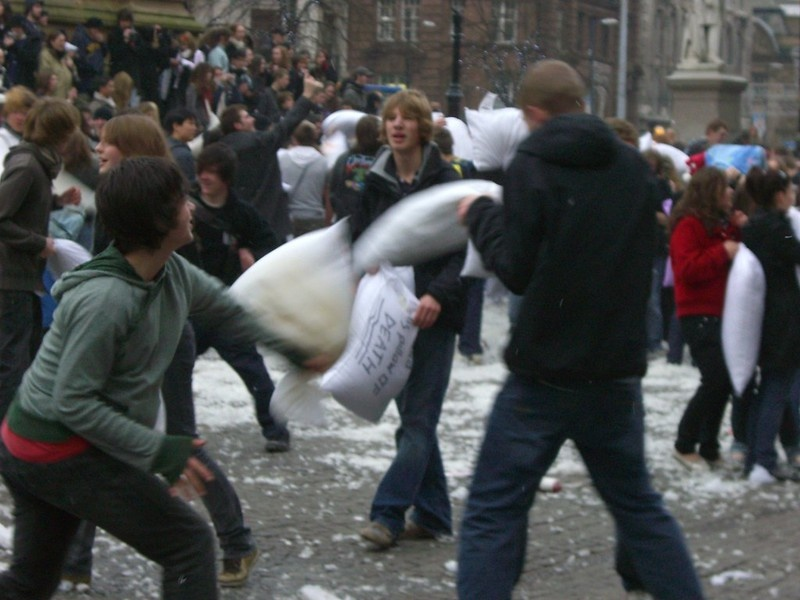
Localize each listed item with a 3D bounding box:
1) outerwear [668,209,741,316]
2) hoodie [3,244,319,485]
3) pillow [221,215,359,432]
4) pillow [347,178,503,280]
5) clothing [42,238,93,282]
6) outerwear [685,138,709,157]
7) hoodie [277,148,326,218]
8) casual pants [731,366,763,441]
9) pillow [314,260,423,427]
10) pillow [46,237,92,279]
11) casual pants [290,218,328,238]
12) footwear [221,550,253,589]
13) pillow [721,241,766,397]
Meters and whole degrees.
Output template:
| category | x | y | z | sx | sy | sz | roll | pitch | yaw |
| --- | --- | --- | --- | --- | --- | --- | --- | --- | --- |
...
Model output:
| category | x | y | z | sx | sy | sz | roll | pitch | yaw |
| --- | --- | --- | --- | --- | --- | --- | --- | --- | --- |
| outerwear | 2.064 | -0.227 | 8.552 | 0.486 | 0.777 | 0.673 | 3 | -5 | 19 |
| hoodie | -0.991 | 0.193 | 5.229 | 0.980 | 0.752 | 0.778 | 16 | 12 | -4 |
| pillow | -0.439 | 0.165 | 6.361 | 0.266 | 0.893 | 0.854 | -3 | 15 | 43 |
| pillow | 0.100 | -0.351 | 6.670 | 0.601 | 0.611 | 0.227 | -26 | 34 | 16 |
| clothing | -1.887 | -0.218 | 6.988 | 0.253 | 0.134 | 0.211 | 28 | -38 | -7 |
| outerwear | 3.553 | -1.807 | 14.774 | 0.115 | 0.242 | 0.295 | 19 | -5 | -24 |
| hoodie | -0.986 | -1.152 | 12.150 | 0.652 | 0.759 | 0.445 | 1 | 17 | 1 |
| casual pants | 2.340 | 0.770 | 8.623 | 0.188 | 0.572 | 0.144 | 11 | -33 | -14 |
| pillow | -0.169 | 0.198 | 6.600 | 0.328 | 0.834 | 0.648 | 18 | -7 | 33 |
| pillow | -1.907 | -0.234 | 7.092 | 0.241 | 0.134 | 0.200 | 27 | -40 | 1 |
| casual pants | -0.892 | -0.744 | 12.335 | 0.361 | 0.109 | 0.361 | -2 | -9 | -31 |
| footwear | -0.827 | 1.374 | 6.340 | 0.090 | 0.096 | 0.225 | 4 | 25 | 19 |
| pillow | 2.253 | 0.088 | 8.163 | 0.310 | 0.930 | 0.981 | 2 | -3 | 21 |
